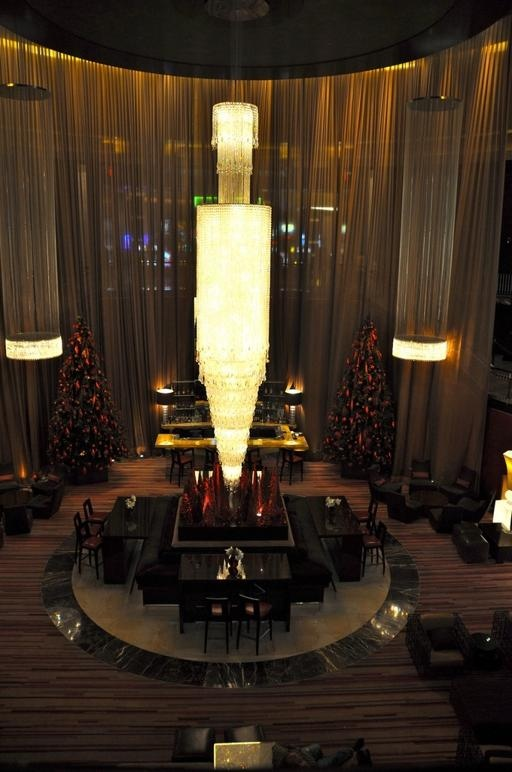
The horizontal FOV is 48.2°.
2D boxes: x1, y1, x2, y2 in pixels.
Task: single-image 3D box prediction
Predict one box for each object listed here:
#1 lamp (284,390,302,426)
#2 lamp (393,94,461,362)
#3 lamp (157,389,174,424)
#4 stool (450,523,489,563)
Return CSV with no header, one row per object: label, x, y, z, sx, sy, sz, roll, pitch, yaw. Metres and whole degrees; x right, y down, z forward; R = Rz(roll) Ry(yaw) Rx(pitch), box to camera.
lamp,0.788,0.497,12.501,0.371,0.849,0.389,6,11,24
lamp,2.863,-2.626,9.598,0.924,3.861,0.701,3,10,11
lamp,-1.939,0.438,12.292,0.399,0.734,0.552,-1,11,-12
stool,3.320,2.435,8.854,0.418,0.390,0.592,1,11,0
